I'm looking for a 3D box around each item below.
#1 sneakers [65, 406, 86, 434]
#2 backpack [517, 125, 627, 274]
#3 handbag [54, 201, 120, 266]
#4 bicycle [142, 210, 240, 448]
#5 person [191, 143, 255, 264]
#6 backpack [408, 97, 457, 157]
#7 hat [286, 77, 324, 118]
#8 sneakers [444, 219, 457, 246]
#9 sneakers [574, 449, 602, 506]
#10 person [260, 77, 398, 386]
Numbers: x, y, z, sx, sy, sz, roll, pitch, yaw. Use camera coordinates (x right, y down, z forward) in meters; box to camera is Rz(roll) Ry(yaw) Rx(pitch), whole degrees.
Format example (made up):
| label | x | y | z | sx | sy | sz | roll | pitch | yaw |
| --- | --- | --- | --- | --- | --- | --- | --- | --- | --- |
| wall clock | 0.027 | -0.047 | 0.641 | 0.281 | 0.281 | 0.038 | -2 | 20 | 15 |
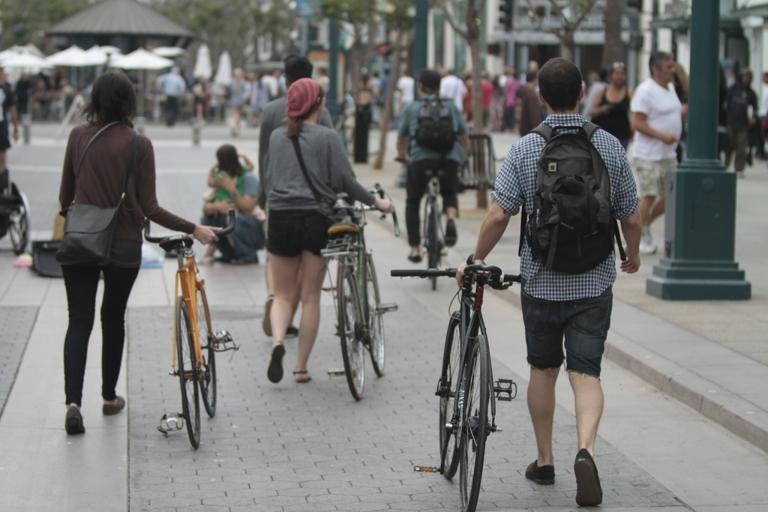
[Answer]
| label | x | y | z | sx | sy | sz | roll | pitch | yaw |
| --- | --- | --- | --- | --- | --- | --- | --- | --- | --- |
| sneakers | -2.640 | 1.378 | 10.839 | 0.165 | 0.243 | 0.151 | -6 | 15 | -19 |
| backpack | 1.452 | -0.428 | 9.748 | 0.624 | 1.096 | 0.392 | 1 | 13 | 7 |
| handbag | -2.487 | -0.186 | 10.750 | 0.383 | 0.578 | 0.240 | 6 | -15 | 12 |
| bicycle | -1.632 | 0.672 | 10.796 | 0.533 | 1.700 | 0.858 | 3 | 14 | 15 |
| person | -1.867 | -0.598 | 15.916 | 0.762 | 1.507 | 0.745 | -2 | 6 | -18 |
| backpack | 0.575 | -1.530 | 15.137 | 0.402 | 0.639 | 0.612 | 2 | 18 | 1 |
| hat | -0.733 | -1.451 | 11.685 | 0.335 | 0.327 | 0.323 | -1 | 15 | -3 |
| sneakers | 0.812 | -0.287 | 15.298 | 0.105 | 0.350 | 0.124 | 0 | 6 | 0 |
| sneakers | 1.551 | 1.696 | 9.676 | 0.156 | 0.477 | 0.184 | -1 | 36 | 14 |
| person | -0.730 | -0.187 | 11.711 | 0.966 | 2.768 | 0.753 | -6 | 14 | -21 |
